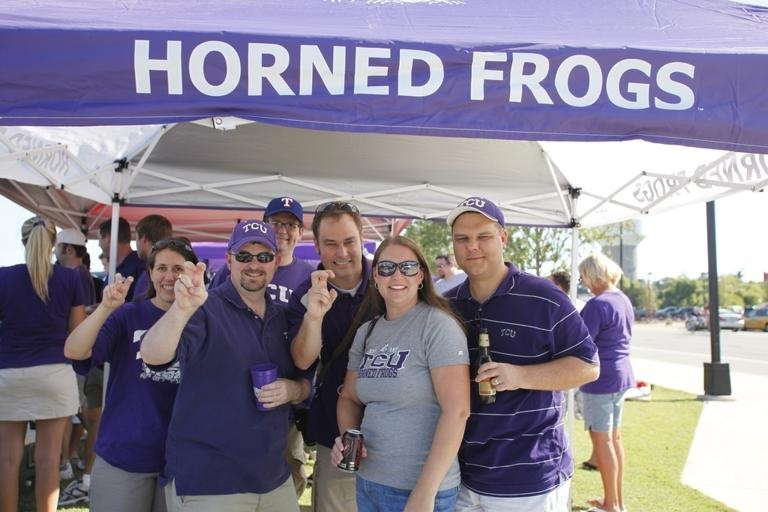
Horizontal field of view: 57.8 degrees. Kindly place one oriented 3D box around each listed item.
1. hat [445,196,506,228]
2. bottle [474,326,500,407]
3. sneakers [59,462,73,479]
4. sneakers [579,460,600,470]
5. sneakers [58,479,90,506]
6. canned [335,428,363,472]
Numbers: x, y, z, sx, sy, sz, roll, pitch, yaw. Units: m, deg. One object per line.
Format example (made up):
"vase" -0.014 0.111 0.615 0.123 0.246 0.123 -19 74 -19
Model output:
"hat" 0.691 -0.337 5.267 0.410 0.235 0.287 1 -2 5
"bottle" 0.737 0.789 4.962 0.133 0.539 0.235 1 -2 10
"sneakers" -3.533 2.391 7.797 0.140 0.155 0.269 2 -2 -23
"sneakers" 2.423 2.478 8.254 0.198 0.065 0.072 4 3 37
"sneakers" -3.113 2.469 7.223 0.469 0.216 0.179 -4 -32 7
"canned" -0.236 1.364 4.908 0.171 0.290 0.126 1 -2 -3
